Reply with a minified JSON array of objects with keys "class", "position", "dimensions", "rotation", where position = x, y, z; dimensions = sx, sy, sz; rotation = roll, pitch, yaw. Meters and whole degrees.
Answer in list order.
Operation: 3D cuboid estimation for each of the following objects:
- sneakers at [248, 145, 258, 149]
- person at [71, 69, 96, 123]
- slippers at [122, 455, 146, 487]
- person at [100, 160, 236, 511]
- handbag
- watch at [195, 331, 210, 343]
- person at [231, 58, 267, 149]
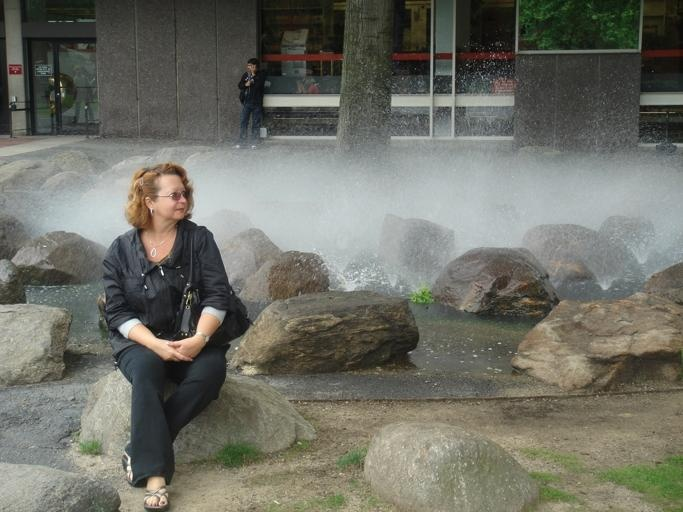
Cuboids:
[{"class":"sneakers","position":[-2.160,-2.648,16.643],"dimensions":[0.161,0.073,0.235],"rotation":[-1,5,-9]},{"class":"person","position":[-7.918,-4.914,21.083],"dimensions":[0.760,1.739,0.189],"rotation":[6,12,7]},{"class":"slippers","position":[-1.318,1.367,4.358],"dimensions":[0.087,0.110,0.256],"rotation":[-17,45,-29]},{"class":"person","position":[-1.162,0.426,4.648],"dimensions":[0.831,2.008,1.122],"rotation":[-1,13,-22]},{"class":"handbag","position":[-0.937,0.425,5.014],"dimensions":[0.544,0.558,0.404],"rotation":[-4,-19,0]},{"class":"watch","position":[-0.952,0.551,4.709],"dimensions":[0.084,0.094,0.063],"rotation":[17,33,-3]},{"class":"person","position":[-2.225,-3.737,16.740],"dimensions":[0.596,2.115,0.627],"rotation":[2,12,-7]}]
